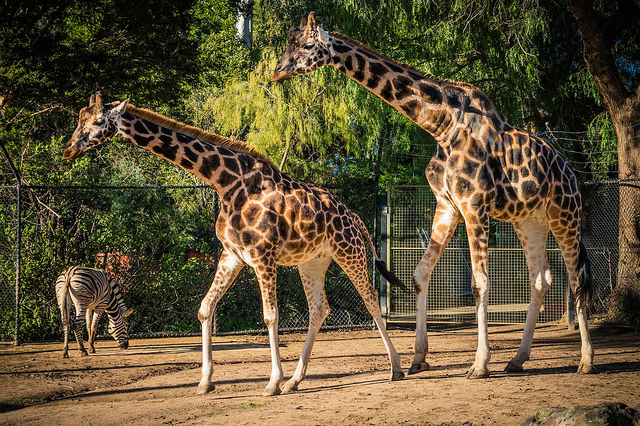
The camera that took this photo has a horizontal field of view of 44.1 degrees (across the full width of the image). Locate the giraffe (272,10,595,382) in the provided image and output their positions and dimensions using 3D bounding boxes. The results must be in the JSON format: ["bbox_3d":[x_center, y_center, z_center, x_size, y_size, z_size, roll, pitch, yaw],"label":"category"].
[{"bbox_3d":[3.090,-0.082,15.387,3.419,6.078,12.715,-2,-2,45],"label":"giraffe"}]

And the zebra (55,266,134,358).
[{"bbox_3d":[-5.338,2.385,18.889,0.720,2.195,3.112,-3,-12,10],"label":"zebra"}]
